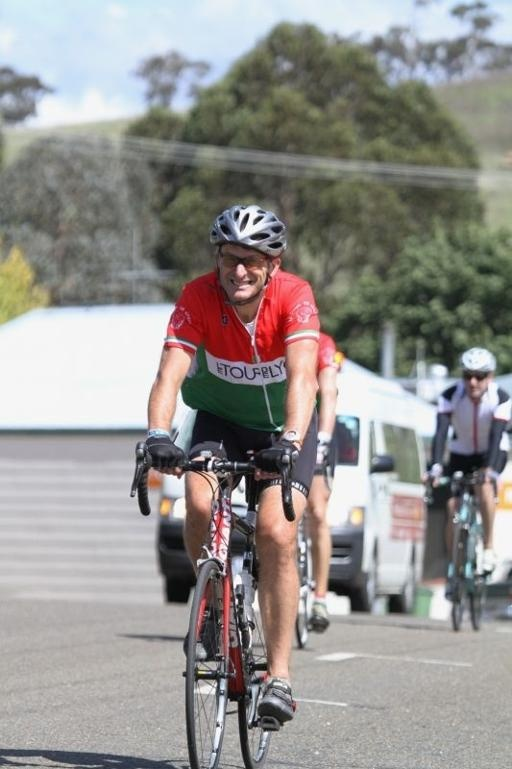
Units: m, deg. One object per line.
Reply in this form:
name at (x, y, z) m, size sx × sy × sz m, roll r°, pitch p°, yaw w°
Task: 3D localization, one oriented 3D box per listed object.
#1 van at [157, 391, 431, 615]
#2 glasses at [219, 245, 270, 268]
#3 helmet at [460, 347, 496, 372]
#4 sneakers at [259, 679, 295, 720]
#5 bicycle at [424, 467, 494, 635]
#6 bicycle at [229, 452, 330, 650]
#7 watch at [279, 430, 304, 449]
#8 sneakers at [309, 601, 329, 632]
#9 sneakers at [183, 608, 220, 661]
van at (0.519, 0.949, 10.575) m, size 1.246 × 1.424 × 2.457 m, roll -1°, pitch -9°, yaw 14°
glasses at (-0.047, -0.449, 4.803) m, size 0.191 × 0.084 × 0.114 m, roll 1°, pitch 2°, yaw 2°
helmet at (1.450, -0.150, 8.817) m, size 0.219 × 0.151 × 0.209 m, roll 1°, pitch 2°, yaw 6°
sneakers at (0.067, 1.048, 4.492) m, size 0.066 × 0.089 × 0.192 m, roll 2°, pitch -27°, yaw 5°
bicycle at (1.387, 1.087, 8.826) m, size 0.256 × 1.038 × 0.676 m, roll 1°, pitch 3°, yaw 10°
bicycle at (0.166, 1.194, 7.948) m, size 0.502 × 0.684 × 1.077 m, roll -1°, pitch -13°, yaw 8°
watch at (0.119, 0.182, 4.438) m, size 0.073 × 0.051 × 0.071 m, roll 15°, pitch -12°, yaw 16°
sneakers at (0.378, 1.374, 7.885) m, size 0.069 × 0.107 × 0.226 m, roll -2°, pitch -37°, yaw 2°
sneakers at (-0.187, 0.824, 4.378) m, size 0.096 × 0.171 × 0.087 m, roll -2°, pitch -36°, yaw 5°
